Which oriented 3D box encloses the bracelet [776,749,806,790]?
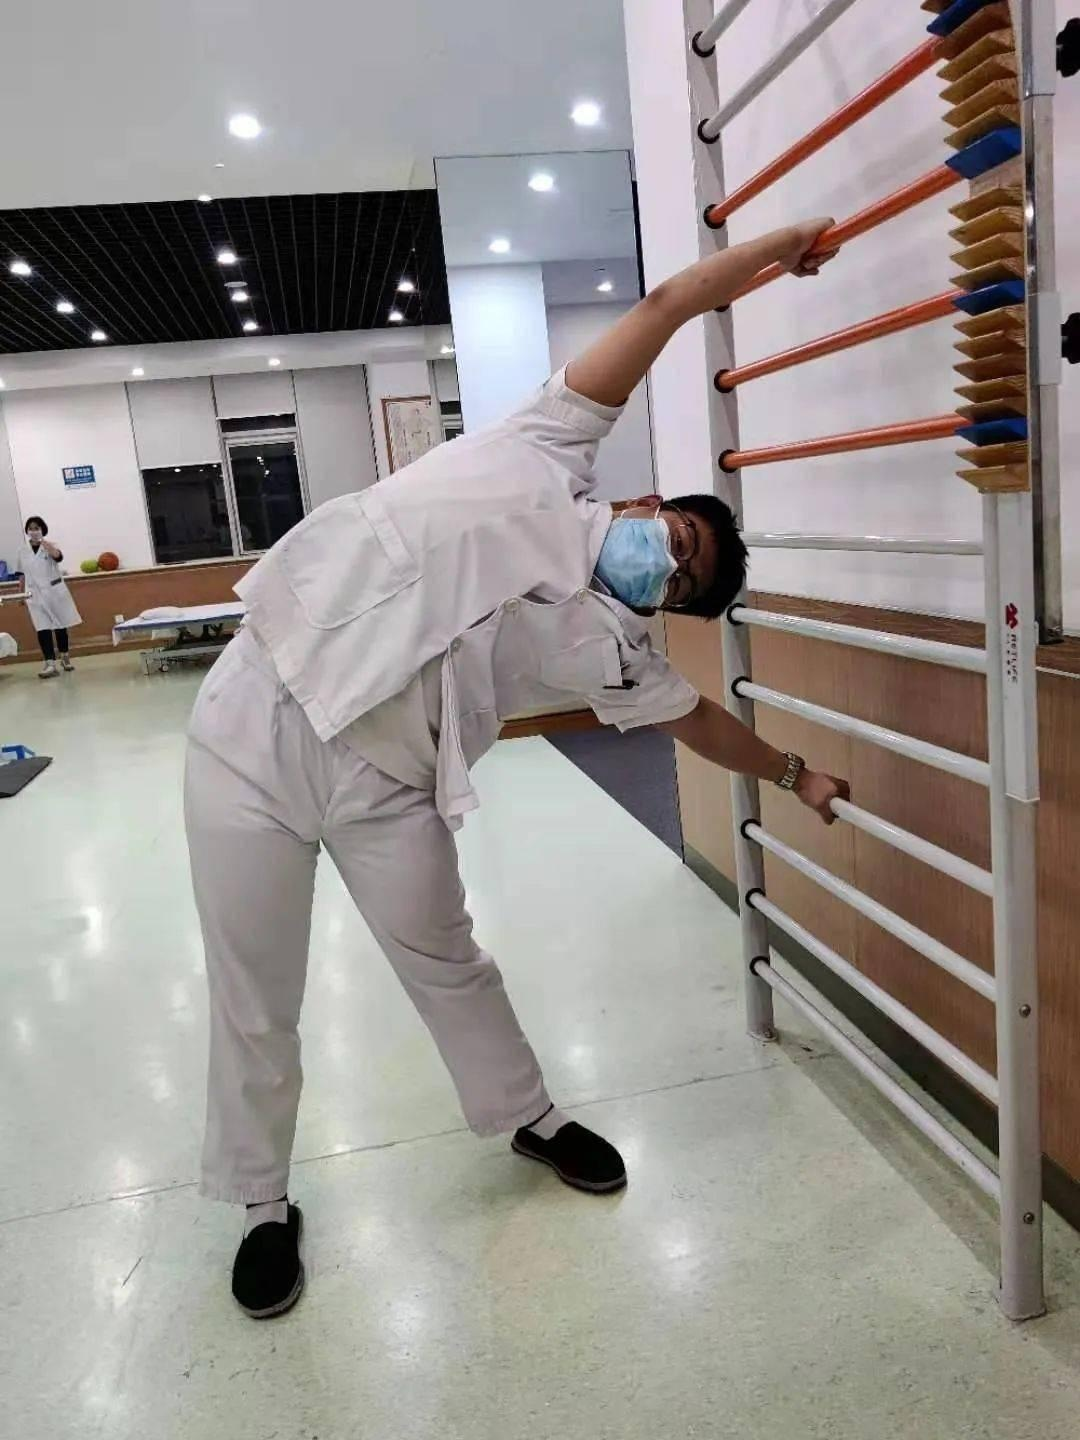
[{"bbox_3d":[0.369,0.080,1.452,0.038,0.059,0.059,20,-7,1],"label":"bracelet"}]

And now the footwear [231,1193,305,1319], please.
[{"bbox_3d":[-0.363,0.728,1.320,0.057,0.052,0.142,-2,8,-5],"label":"footwear"}]

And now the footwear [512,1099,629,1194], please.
[{"bbox_3d":[0.047,0.652,1.516,0.178,0.066,0.081,7,18,43],"label":"footwear"}]

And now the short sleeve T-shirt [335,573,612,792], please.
[{"bbox_3d":[-0.067,-0.020,1.236,0.283,0.254,0.108,-32,-19,-1],"label":"short sleeve T-shirt"}]

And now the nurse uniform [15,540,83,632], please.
[{"bbox_3d":[-4.822,-1.301,9.629,0.407,0.841,0.314,-13,13,-35],"label":"nurse uniform"}]
